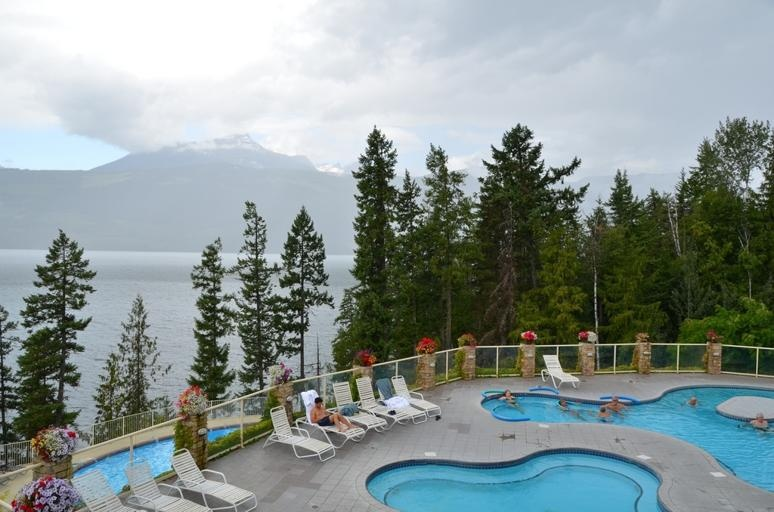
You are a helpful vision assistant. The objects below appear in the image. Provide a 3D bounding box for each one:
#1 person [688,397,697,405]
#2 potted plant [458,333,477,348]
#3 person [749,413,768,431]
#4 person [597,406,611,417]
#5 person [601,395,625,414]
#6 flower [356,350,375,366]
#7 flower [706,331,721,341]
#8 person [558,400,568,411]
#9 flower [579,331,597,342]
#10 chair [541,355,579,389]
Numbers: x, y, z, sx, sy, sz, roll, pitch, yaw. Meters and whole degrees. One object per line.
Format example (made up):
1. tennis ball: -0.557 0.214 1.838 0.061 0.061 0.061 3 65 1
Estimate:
1. person: 29.548 13.808 64.065 1.182 0.718 0.502 0 0 -32
2. potted plant: 7.997 8.351 67.225 1.540 1.050 1.588 1 -8 6
3. person: 34.642 15.190 61.705 1.533 1.502 0.615 0 1 8
4. person: 20.445 14.429 62.454 1.234 1.026 0.652 0 0 -22
5. person: 21.397 13.971 63.012 1.082 1.715 0.600 -12 -23 41
6. flower: -2.164 9.470 62.794 1.378 1.120 1.437 -3 -11 17
7. flower: 33.265 8.077 68.193 1.078 0.829 1.113 2 1 -14
8. person: 16.817 14.112 63.549 0.883 0.726 1.143 7 18 -30
9. flower: 20.457 8.030 67.398 1.231 0.870 1.284 -2 -7 25
10. chair: 16.954 11.260 65.981 3.229 3.066 1.496 0 0 12
